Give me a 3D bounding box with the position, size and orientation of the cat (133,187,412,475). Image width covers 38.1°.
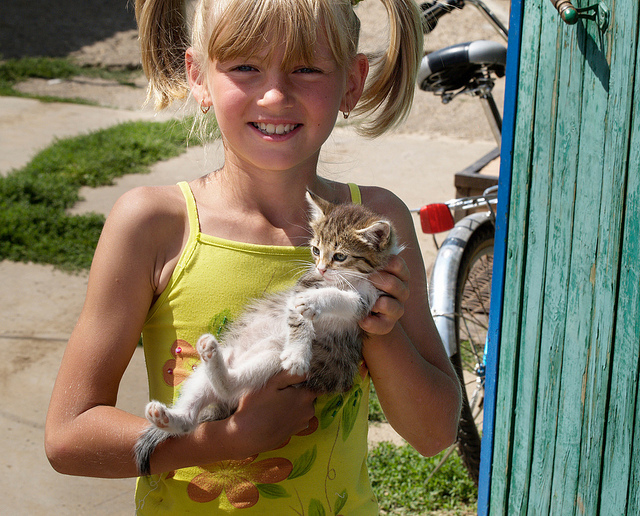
[{"bbox_3d":[-0.168,0.308,3.950,1.246,0.629,0.650,-34,24,-19],"label":"cat"}]
